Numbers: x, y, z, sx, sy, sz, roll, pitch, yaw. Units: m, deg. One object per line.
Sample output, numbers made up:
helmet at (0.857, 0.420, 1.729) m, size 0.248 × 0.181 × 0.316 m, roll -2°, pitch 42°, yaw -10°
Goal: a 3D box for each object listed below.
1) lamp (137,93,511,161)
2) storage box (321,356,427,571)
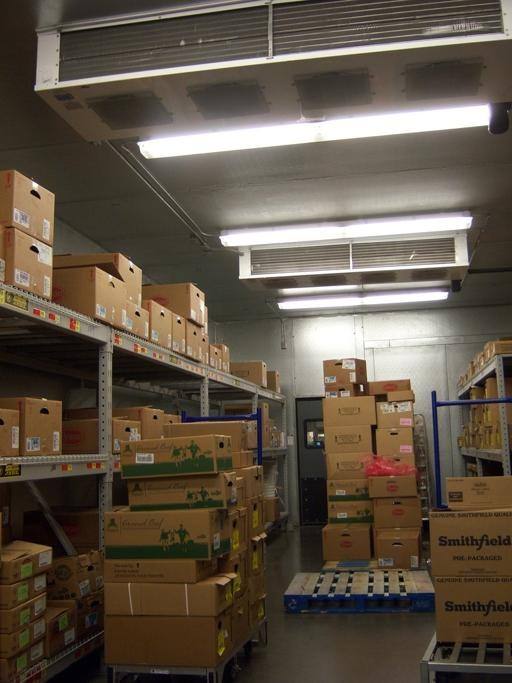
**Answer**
lamp at (0.227, -1.086, 2.910) m, size 1.799 × 0.179 × 0.310 m, roll -5°, pitch -11°, yaw 12°
storage box at (1.160, 1.086, 5.853) m, size 0.965 × 2.075 × 1.499 m, roll -5°, pitch -12°, yaw 12°
